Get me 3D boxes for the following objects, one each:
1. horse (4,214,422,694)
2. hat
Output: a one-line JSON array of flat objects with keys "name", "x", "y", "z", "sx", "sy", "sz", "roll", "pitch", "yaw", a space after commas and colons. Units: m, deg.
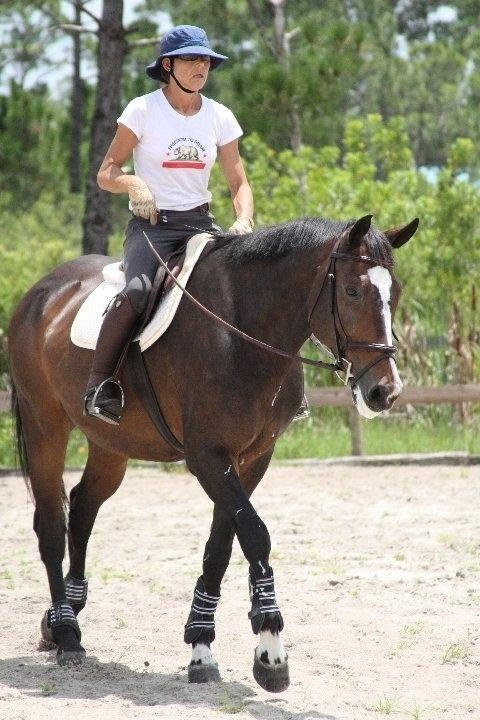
[{"name": "horse", "x": -0.263, "y": 0.448, "z": 5.427, "sx": 2.480, "sy": 2.230, "sz": 0.799, "roll": 1, "pitch": 7, "yaw": 41}, {"name": "hat", "x": -0.241, "y": -1.607, "z": 5.529, "sx": 0.340, "sy": 0.197, "sz": 0.411, "roll": -7, "pitch": 7, "yaw": -9}]
